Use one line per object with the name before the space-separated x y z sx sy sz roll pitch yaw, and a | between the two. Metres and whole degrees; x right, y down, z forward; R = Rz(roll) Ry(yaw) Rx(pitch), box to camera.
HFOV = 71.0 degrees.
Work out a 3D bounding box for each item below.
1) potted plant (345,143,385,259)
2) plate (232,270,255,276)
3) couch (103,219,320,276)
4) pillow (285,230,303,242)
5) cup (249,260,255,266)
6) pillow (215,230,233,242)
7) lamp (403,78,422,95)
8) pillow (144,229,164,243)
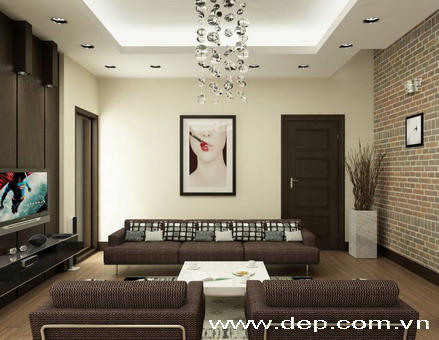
potted plant | 2.860 0.532 6.045 0.672 2.210 0.737 -1 3 7
plate | 0.311 1.334 3.993 0.140 0.020 0.140 -1 1 -11
couch | -0.148 1.308 5.162 3.282 0.829 0.837 -1 3 0
pillow | 1.265 1.149 5.302 0.207 0.184 0.062 -2 -27 6
cup | 0.454 1.306 4.339 0.062 0.044 0.062 2 -3 0
pillow | 0.065 1.140 5.320 0.261 0.169 0.070 -1 -22 -10
lamp | 3.145 -1.366 5.093 0.140 0.244 0.420 -1 3 7
pillow | -1.119 1.060 5.275 0.409 0.289 0.143 1 -13 -3
